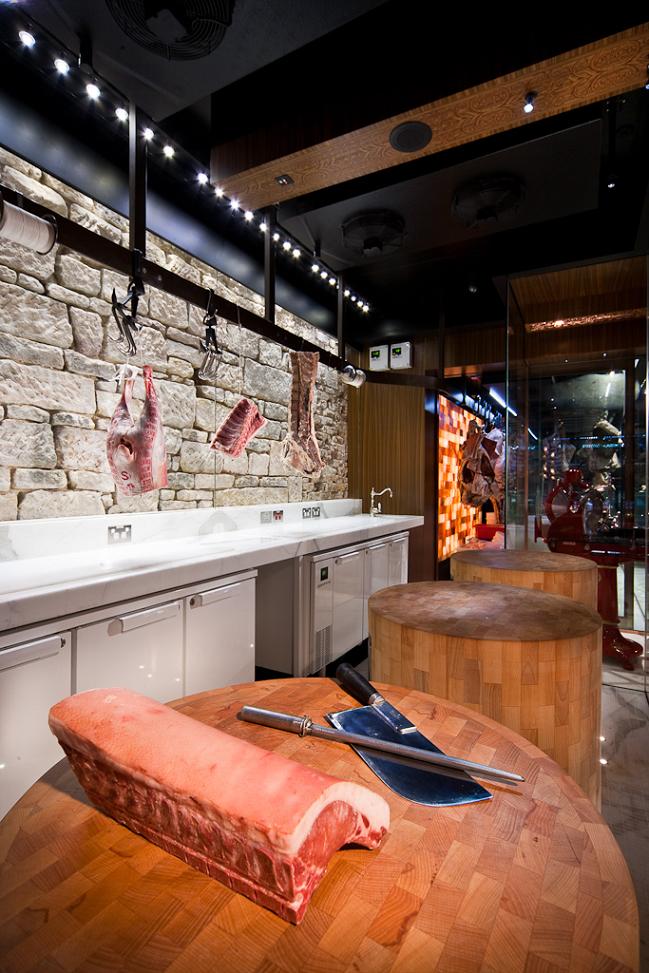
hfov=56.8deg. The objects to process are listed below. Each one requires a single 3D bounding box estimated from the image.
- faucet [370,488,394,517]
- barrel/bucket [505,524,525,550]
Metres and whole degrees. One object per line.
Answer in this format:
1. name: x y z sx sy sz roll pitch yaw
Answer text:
1. faucet: 0.470 0.136 5.003 0.191 0.220 0.689 2 4 9
2. barrel/bucket: 1.203 0.322 3.808 0.078 0.142 0.142 -5 -7 35
